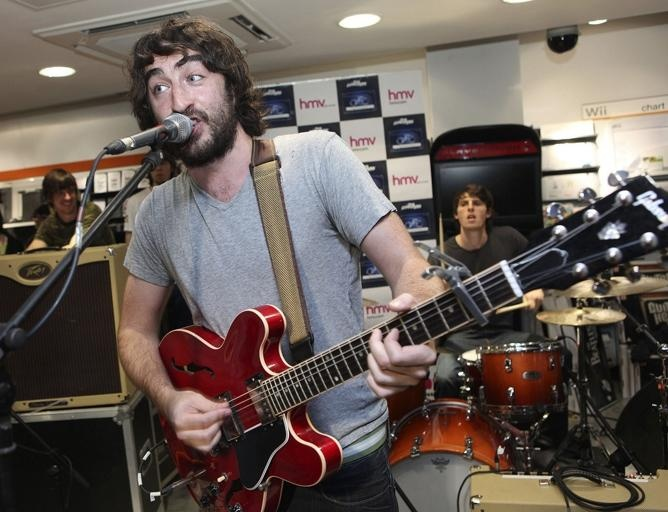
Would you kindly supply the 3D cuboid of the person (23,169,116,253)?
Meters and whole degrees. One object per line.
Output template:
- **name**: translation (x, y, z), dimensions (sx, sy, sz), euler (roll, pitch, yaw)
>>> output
- **person**: translation (-2.049, -0.391, 4.589), dimensions (0.546, 0.601, 1.752), euler (-5, 3, -26)

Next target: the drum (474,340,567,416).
- **drum**: translation (1.006, 0.656, 3.179), dimensions (0.384, 0.286, 0.386), euler (-3, -5, 0)

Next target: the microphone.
- **microphone**: translation (-0.535, -0.366, 1.856), dimensions (0.336, 0.105, 0.102), euler (-21, 2, -43)

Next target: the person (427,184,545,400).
- **person**: translation (1.035, 0.170, 4.260), dimensions (0.993, 1.350, 0.851), euler (-9, 5, 3)

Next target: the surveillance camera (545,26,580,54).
- **surveillance camera**: translation (1.927, -1.832, 5.051), dimensions (0.248, 0.190, 0.154), euler (-3, 3, 20)
